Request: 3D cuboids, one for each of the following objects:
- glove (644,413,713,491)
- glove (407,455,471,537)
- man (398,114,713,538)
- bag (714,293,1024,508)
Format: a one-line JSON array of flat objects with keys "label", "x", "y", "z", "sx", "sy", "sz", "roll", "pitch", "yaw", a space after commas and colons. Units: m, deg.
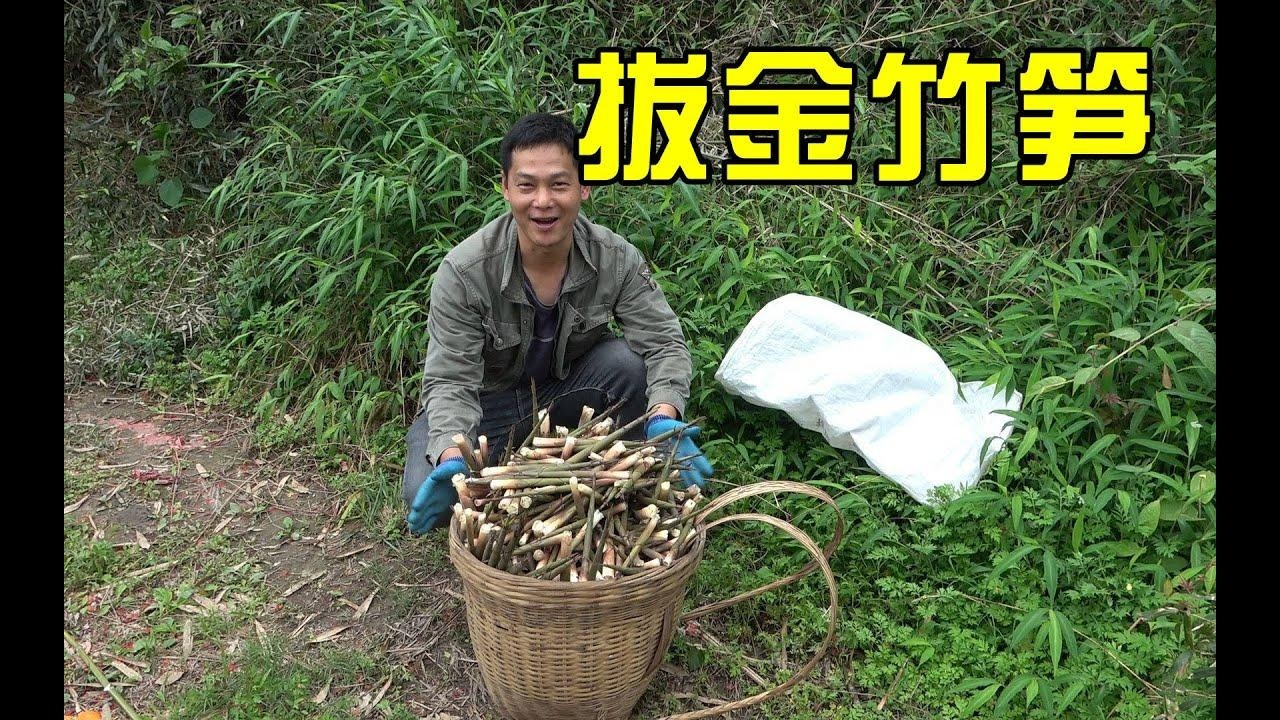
[{"label": "glove", "x": 0.208, "y": 0.431, "z": 4.595, "sx": 0.330, "sy": 0.141, "sz": 0.330, "roll": 38, "pitch": 3, "yaw": 0}, {"label": "glove", "x": -0.969, "y": 0.639, "z": 4.539, "sx": 0.127, "sy": 0.404, "sz": 0.329, "roll": 47, "pitch": 9, "yaw": 32}, {"label": "man", "x": -0.501, "y": 0.040, "z": 4.952, "sx": 1.488, "sy": 2.187, "sz": 1.713, "roll": -6, "pitch": 24, "yaw": -17}, {"label": "bag", "x": 1.207, "y": 0.255, "z": 5.296, "sx": 1.405, "sy": 0.947, "sz": 0.417, "roll": 29, "pitch": -13, "yaw": 8}]
